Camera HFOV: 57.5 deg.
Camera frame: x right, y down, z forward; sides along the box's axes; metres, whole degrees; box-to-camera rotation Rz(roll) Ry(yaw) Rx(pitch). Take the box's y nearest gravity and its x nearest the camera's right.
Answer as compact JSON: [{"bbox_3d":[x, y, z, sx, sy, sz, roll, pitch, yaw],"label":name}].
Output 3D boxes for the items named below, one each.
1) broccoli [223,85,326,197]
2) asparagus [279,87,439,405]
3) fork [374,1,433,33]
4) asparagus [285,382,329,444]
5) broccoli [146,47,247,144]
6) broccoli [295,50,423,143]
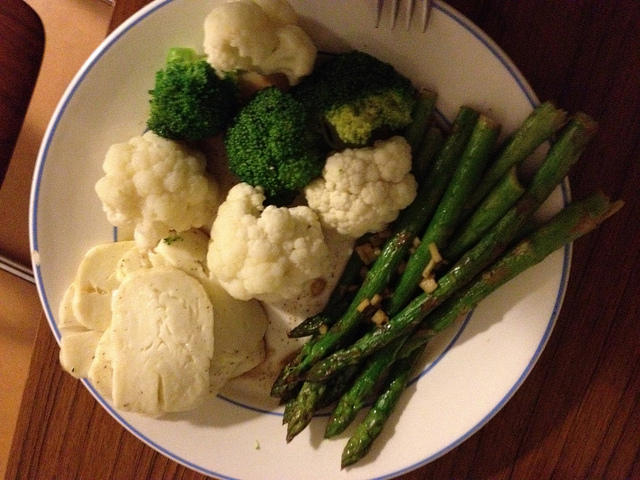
[{"bbox_3d":[-0.167,-0.353,2.113,0.344,0.134,0.378,5,102,-3],"label":"broccoli"},{"bbox_3d":[0.211,0.035,2.567,0.500,1.280,0.492,11,60,13],"label":"asparagus"},{"bbox_3d":[0.296,-0.806,2.081,0.202,0.096,0.091,5,74,10],"label":"fork"},{"bbox_3d":[-0.057,0.678,2.284,0.063,0.069,0.274,29,78,-15],"label":"asparagus"},{"bbox_3d":[-0.457,-0.539,2.246,0.443,0.305,0.357,-9,44,-15],"label":"broccoli"},{"bbox_3d":[0.093,-0.529,2.143,0.417,0.411,0.130,11,51,13],"label":"broccoli"}]
